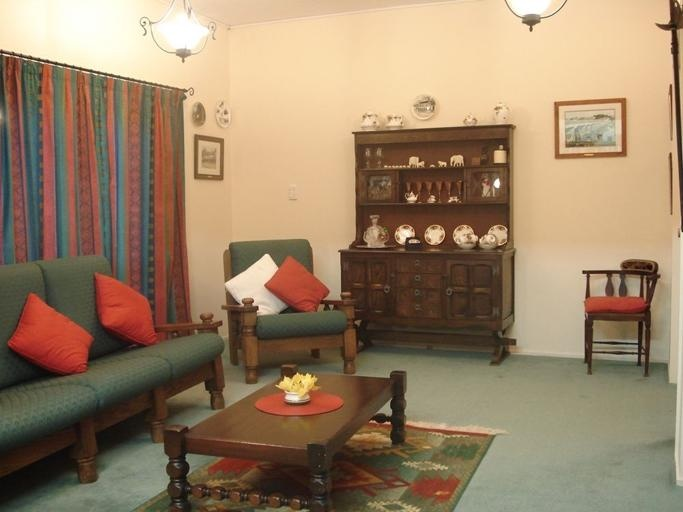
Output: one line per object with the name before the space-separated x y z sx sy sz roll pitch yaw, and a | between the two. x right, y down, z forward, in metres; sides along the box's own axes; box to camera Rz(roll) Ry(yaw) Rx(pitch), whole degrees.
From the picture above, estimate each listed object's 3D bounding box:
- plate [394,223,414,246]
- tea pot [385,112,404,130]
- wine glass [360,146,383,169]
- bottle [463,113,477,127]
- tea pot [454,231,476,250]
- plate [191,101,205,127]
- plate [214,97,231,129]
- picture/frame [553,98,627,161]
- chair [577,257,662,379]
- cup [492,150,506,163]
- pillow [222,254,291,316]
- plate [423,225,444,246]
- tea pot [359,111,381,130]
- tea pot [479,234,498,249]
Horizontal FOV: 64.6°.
plate | 0.621 -0.231 5.482 0.217 0.194 0.049 1 1 24
tea pot | 0.513 -1.337 5.350 0.162 0.120 0.197 -1 -2 -9
wine glass | 0.304 -0.994 5.472 0.246 0.244 0.234 0 -3 11
bottle | 1.219 -1.303 5.135 0.132 0.125 0.182 0 6 12
tea pot | 1.182 -0.146 5.150 0.205 0.158 0.252 0 6 11
plate | -1.474 -1.458 5.519 0.050 0.248 0.201 1 7 20
plate | -1.293 -1.539 5.833 0.055 0.296 0.233 1 7 20
picture/frame | 2.274 -1.169 4.893 0.677 0.537 0.057 1 5 25
chair | 2.362 0.513 4.643 0.589 0.921 0.709 2 7 29
cup | 1.448 -0.923 4.976 0.124 0.123 0.117 2 0 0
pillow | -0.779 0.259 4.797 0.491 0.499 0.148 -35 -19 -21
plate | 0.920 -0.209 5.378 0.206 0.185 0.039 9 1 22
tea pot | 0.279 -1.348 5.464 0.208 0.162 0.201 1 -2 0
tea pot | 1.341 -0.134 4.978 0.154 0.100 0.146 -2 0 0
